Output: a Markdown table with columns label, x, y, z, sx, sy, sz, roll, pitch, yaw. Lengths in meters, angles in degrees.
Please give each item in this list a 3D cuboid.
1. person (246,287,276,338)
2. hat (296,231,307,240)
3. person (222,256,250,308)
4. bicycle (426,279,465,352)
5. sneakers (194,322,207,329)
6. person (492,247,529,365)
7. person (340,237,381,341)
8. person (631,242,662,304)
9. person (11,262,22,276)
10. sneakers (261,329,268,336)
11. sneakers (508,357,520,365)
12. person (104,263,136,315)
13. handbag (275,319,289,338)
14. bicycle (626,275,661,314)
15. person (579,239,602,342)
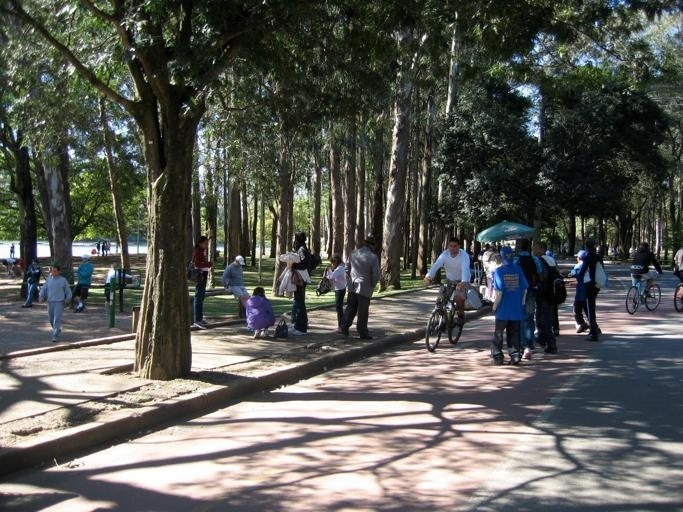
| label | x | y | z | sx | sy | sz | roll | pitch | yaw |
| --- | --- | --- | --- | --- | --- | --- | --- | --- | --- |
| person | -1.818 | 1.253 | 15.102 | 0.590 | 1.144 | 0.913 | 0 | -3 | -7 |
| hat | -0.931 | -0.446 | 15.469 | 0.173 | 0.248 | 0.236 | 2 | 12 | -1 |
| person | -2.642 | 0.647 | 16.818 | 0.575 | 1.370 | 2.354 | 0 | -3 | -9 |
| bicycle | 2.224 | 1.280 | 14.492 | 0.643 | 1.481 | 1.697 | -1 | -3 | 18 |
| sneakers | -3.391 | 1.684 | 16.203 | 0.314 | 0.155 | 0.125 | 9 | 7 | -6 |
| person | 3.200 | 0.925 | 12.835 | 0.594 | 2.217 | 0.963 | -1 | -3 | 26 |
| person | 0.411 | 0.719 | 15.029 | 0.737 | 2.290 | 1.045 | 0 | -2 | -9 |
| person | 9.323 | 0.466 | 20.849 | 0.959 | 1.760 | 0.878 | 3 | 0 | -17 |
| person | -17.671 | 0.755 | 36.686 | 0.643 | 0.732 | 0.687 | -2 | -7 | 43 |
| sneakers | -1.727 | 1.740 | 15.163 | 0.136 | 0.127 | 0.194 | 11 | 10 | -12 |
| sneakers | 3.224 | 1.955 | 12.556 | 0.193 | 0.142 | 0.223 | -1 | -3 | 9 |
| person | -7.214 | 1.128 | 22.040 | 0.805 | 2.570 | 1.345 | 2 | -3 | -27 |
| handbag | -1.346 | 1.614 | 14.987 | 0.299 | 0.435 | 0.356 | 0 | -3 | -7 |
| bicycle | 9.321 | 1.129 | 20.920 | 0.552 | 0.791 | 1.248 | 12 | -7 | -25 |
| person | 5.635 | 0.761 | 15.290 | 0.429 | 2.286 | 0.868 | -1 | -2 | 26 |
